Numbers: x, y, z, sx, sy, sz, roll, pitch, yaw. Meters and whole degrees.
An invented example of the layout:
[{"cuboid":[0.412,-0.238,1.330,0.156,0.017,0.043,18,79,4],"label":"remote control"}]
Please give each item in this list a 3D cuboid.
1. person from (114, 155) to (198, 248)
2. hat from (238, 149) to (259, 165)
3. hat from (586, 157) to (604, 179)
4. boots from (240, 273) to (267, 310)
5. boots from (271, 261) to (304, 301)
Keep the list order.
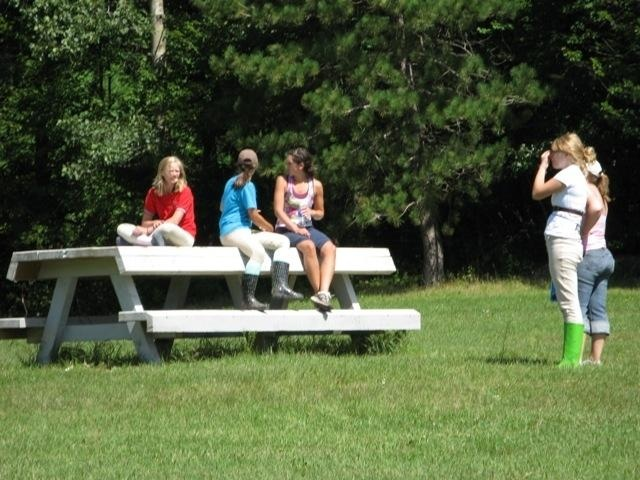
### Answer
[{"cuboid":[-2.311,-0.392,15.680,1.141,1.801,1.077,8,6,37],"label":"person"},{"cuboid":[-1.006,-1.168,15.278,0.187,0.269,0.257,14,21,29],"label":"hat"},{"cuboid":[3.690,-0.942,14.764,0.177,0.284,0.121,-11,-21,-30],"label":"hat"},{"cuboid":[-0.893,0.695,15.002,0.359,0.562,0.233,4,25,-2],"label":"boots"},{"cuboid":[-0.455,0.624,15.000,0.448,0.547,0.251,8,-21,-11],"label":"boots"}]
